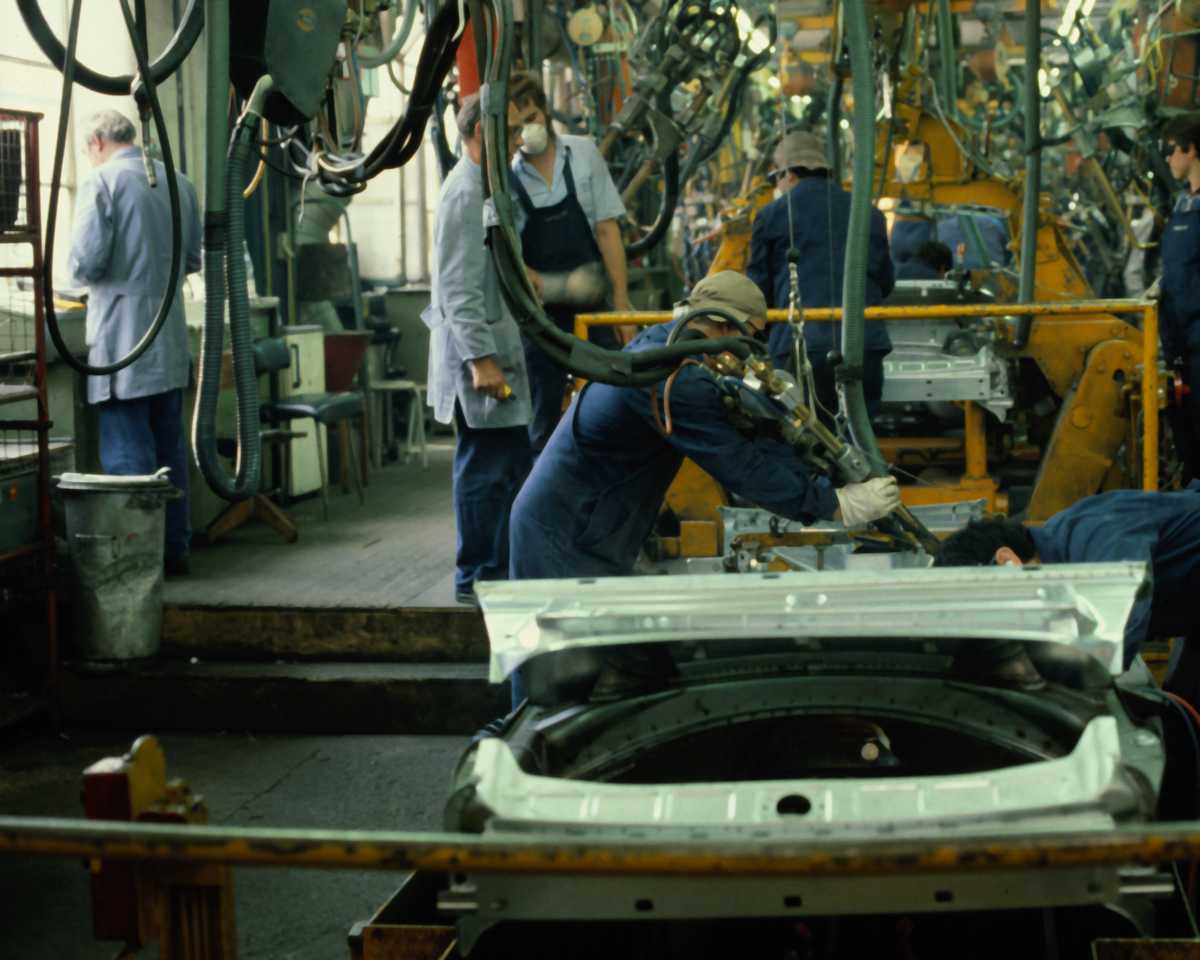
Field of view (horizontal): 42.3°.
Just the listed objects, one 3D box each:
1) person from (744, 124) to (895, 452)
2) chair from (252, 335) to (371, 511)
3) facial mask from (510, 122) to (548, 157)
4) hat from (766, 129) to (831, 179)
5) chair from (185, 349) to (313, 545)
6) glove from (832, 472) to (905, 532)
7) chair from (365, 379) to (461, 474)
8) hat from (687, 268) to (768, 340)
[{"bbox_3d":[1.207,-0.859,8.098,0.622,1.917,0.653,-4,28,7],"label":"person"},{"bbox_3d":[-1.757,-0.404,9.521,0.526,0.861,0.476,-1,12,33],"label":"chair"},{"bbox_3d":[-0.302,-1.453,6.602,0.123,0.115,0.138,-10,17,11],"label":"facial mask"},{"bbox_3d":[1.027,-1.616,7.913,0.271,0.188,0.345,0,8,11],"label":"hat"},{"bbox_3d":[-1.898,-0.142,8.567,0.627,0.802,0.714,12,6,27],"label":"chair"},{"bbox_3d":[0.829,0.065,4.846,0.201,0.124,0.088,-20,0,-7],"label":"glove"},{"bbox_3d":[-1.504,-0.437,11.663,0.475,0.623,0.441,-3,5,-17],"label":"chair"},{"bbox_3d":[0.421,-0.572,4.928,0.237,0.211,0.181,18,10,-18],"label":"hat"}]
